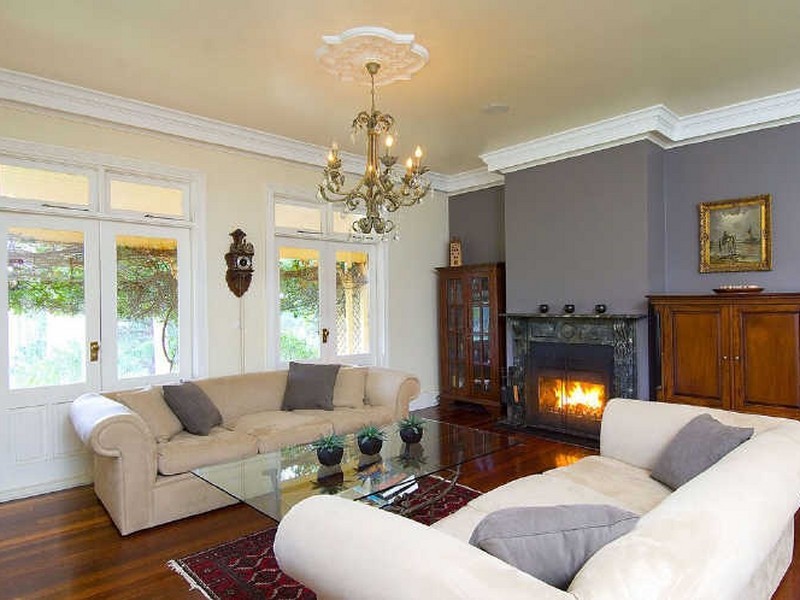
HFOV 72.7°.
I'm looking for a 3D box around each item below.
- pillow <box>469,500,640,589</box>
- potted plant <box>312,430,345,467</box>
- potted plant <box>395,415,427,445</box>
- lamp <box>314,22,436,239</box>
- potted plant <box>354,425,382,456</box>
[{"bbox_3d":[0.629,0.903,2.232,0.455,0.144,0.351,0,-5,-34],"label":"pillow"},{"bbox_3d":[-0.487,1.030,3.784,0.187,0.200,0.208,-3,-7,23],"label":"potted plant"},{"bbox_3d":[0.085,0.990,4.186,0.166,0.168,0.171,-6,-10,36],"label":"potted plant"},{"bbox_3d":[-0.211,-1.283,4.335,0.763,1.327,0.802,1,1,19],"label":"lamp"},{"bbox_3d":[-0.215,1.018,3.963,0.181,0.182,0.184,-4,-8,42],"label":"potted plant"}]
